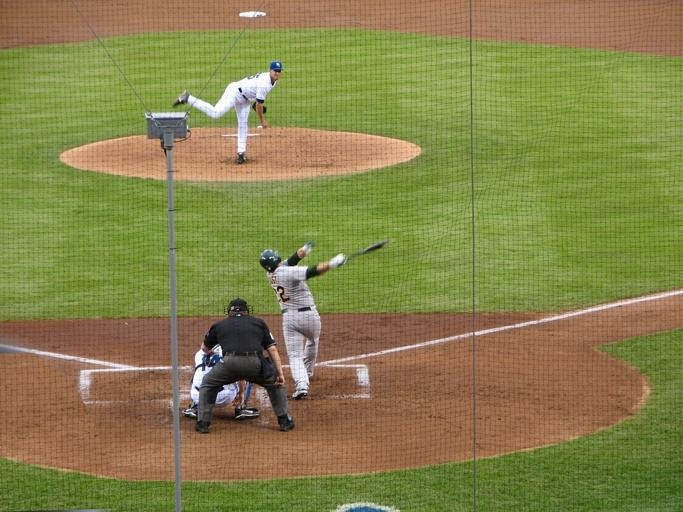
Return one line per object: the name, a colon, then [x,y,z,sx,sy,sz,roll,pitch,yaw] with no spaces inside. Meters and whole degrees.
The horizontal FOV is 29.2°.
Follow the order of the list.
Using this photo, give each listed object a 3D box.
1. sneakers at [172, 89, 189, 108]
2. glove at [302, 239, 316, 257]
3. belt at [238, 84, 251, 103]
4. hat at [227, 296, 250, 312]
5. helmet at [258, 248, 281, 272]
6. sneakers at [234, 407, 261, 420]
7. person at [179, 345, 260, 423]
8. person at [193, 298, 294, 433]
sneakers: [-3.037,-2.887,24.988,0.265,0.210,0.672,-17,-4,-16]
glove: [-0.574,-0.102,24.291,0.126,0.351,0.220,39,56,19]
belt: [-1.916,-3.123,26.123,0.098,0.241,0.205,-22,31,-16]
hat: [-1.663,0.820,21.302,0.231,0.188,0.343,-4,11,-7]
helmet: [-1.177,0.149,22.100,0.353,0.444,0.239,18,35,20]
sneakers: [-1.535,2.549,21.620,0.410,0.200,0.165,-4,14,-8]
person: [-2.081,2.054,21.636,1.113,1.456,1.264,4,22,8]
person: [-1.566,1.886,21.209,1.498,1.774,0.952,1,33,-6]
